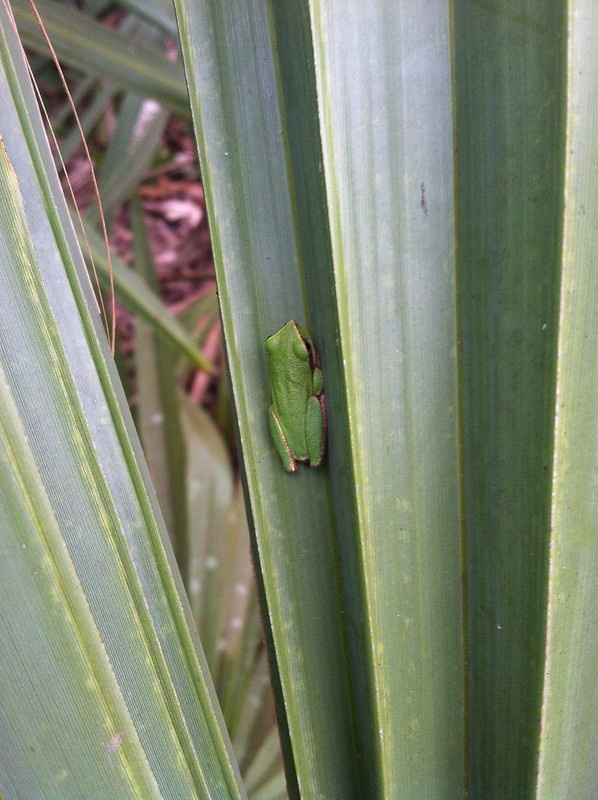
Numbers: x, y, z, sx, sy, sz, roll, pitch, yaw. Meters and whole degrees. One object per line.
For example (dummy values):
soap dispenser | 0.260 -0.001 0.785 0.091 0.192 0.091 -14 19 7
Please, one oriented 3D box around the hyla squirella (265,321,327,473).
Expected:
hyla squirella | -0.004 0.000 0.597 0.036 0.041 0.110 -11 41 5
